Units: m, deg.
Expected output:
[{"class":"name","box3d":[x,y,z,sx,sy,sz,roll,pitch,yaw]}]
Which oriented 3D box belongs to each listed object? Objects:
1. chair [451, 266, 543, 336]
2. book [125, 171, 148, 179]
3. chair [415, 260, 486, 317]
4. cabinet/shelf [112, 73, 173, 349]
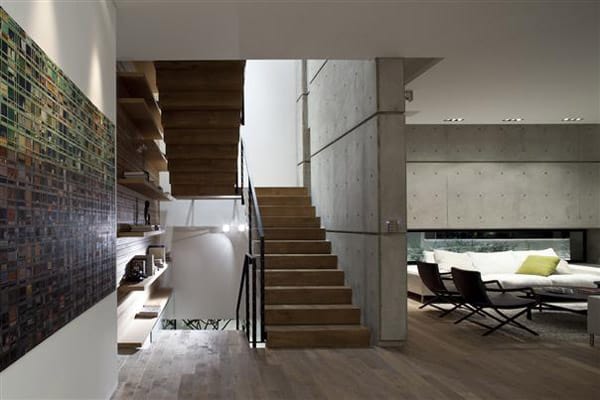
[{"class":"chair","box3d":[2.985,1.545,6.408,1.115,0.895,0.959,1,-3,-15]},{"class":"book","box3d":[-2.135,-0.326,5.311,0.268,0.090,0.167,0,2,-28]},{"class":"chair","box3d":[2.578,1.552,7.290,0.981,0.829,0.767,0,-7,-7]},{"class":"cabinet/shelf","box3d":[-2.437,0.258,6.462,0.732,3.819,2.913,0,3,-17]}]
